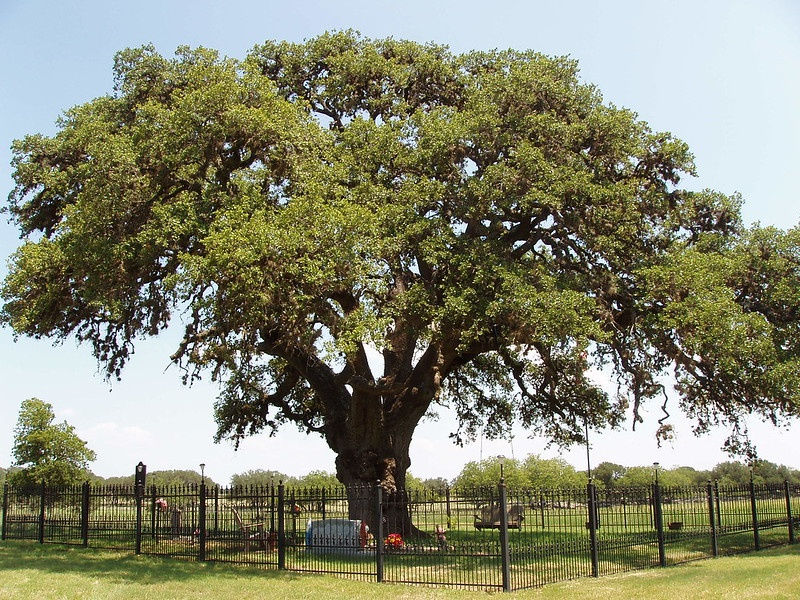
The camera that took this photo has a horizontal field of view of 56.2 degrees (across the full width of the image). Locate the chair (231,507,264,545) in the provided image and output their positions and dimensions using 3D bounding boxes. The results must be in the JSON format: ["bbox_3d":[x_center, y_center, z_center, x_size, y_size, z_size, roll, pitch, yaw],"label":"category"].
[{"bbox_3d":[-4.798,7.035,23.506,1.116,1.541,0.976,-4,-10,0],"label":"chair"}]
